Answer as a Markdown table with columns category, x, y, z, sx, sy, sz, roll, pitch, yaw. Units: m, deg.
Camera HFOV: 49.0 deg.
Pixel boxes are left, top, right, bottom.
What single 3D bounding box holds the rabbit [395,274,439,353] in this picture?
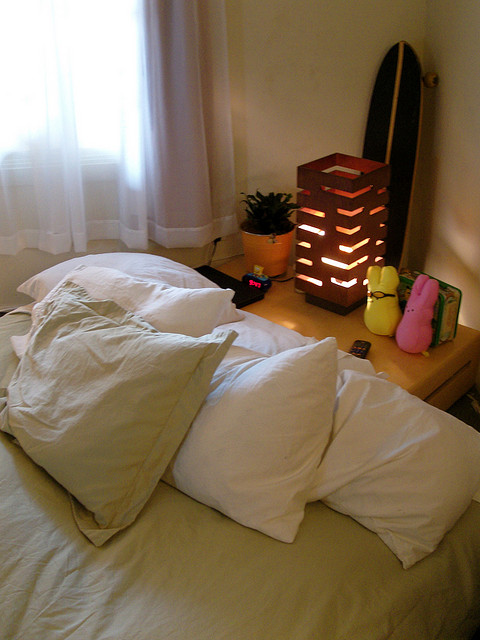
| category | x | y | z | sx | sy | sz | roll | pitch | yaw |
| --- | --- | --- | --- | --- | --- | --- | --- | --- | --- |
| rabbit | 0.548 | -0.011 | 1.630 | 0.115 | 0.259 | 0.106 | -24 | 45 | -22 |

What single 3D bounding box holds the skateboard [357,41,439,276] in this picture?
| category | x | y | z | sx | sy | sz | roll | pitch | yaw |
| --- | --- | --- | --- | --- | --- | --- | --- | --- | --- |
| skateboard | 0.650 | -0.554 | 2.247 | 0.235 | 1.110 | 0.158 | 16 | 21 | 31 |

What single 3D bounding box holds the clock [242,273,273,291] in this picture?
| category | x | y | z | sx | sy | sz | roll | pitch | yaw |
| --- | --- | --- | --- | --- | --- | --- | --- | --- | --- |
| clock | 0.061 | -0.156 | 2.135 | 0.131 | 0.063 | 0.072 | 19 | 33 | 39 |

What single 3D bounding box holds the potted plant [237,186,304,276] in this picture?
| category | x | y | z | sx | sy | sz | roll | pitch | yaw |
| --- | --- | --- | --- | --- | --- | --- | --- | --- | --- |
| potted plant | 0.156 | -0.405 | 2.298 | 0.364 | 0.387 | 0.311 | 9 | 25 | 18 |
